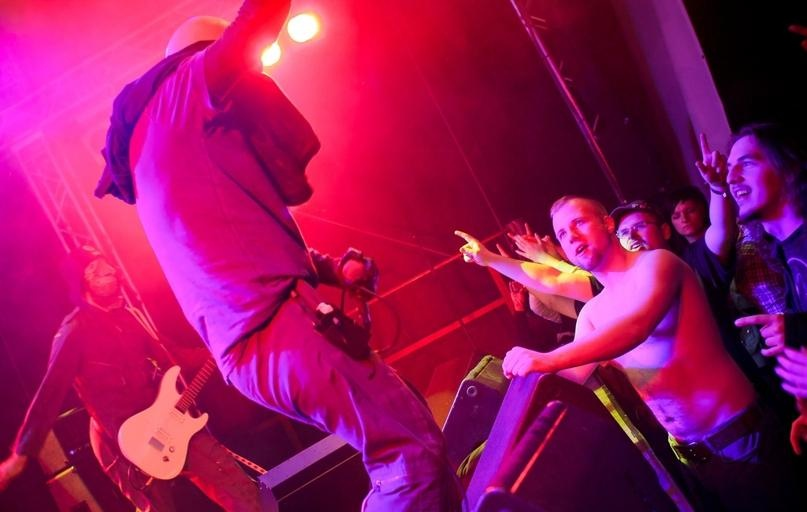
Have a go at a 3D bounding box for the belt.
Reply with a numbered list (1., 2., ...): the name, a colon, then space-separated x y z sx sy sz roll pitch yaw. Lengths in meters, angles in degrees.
1. belt: 1.991 1.116 3.776 0.508 0.188 0.385 -38 -7 5
